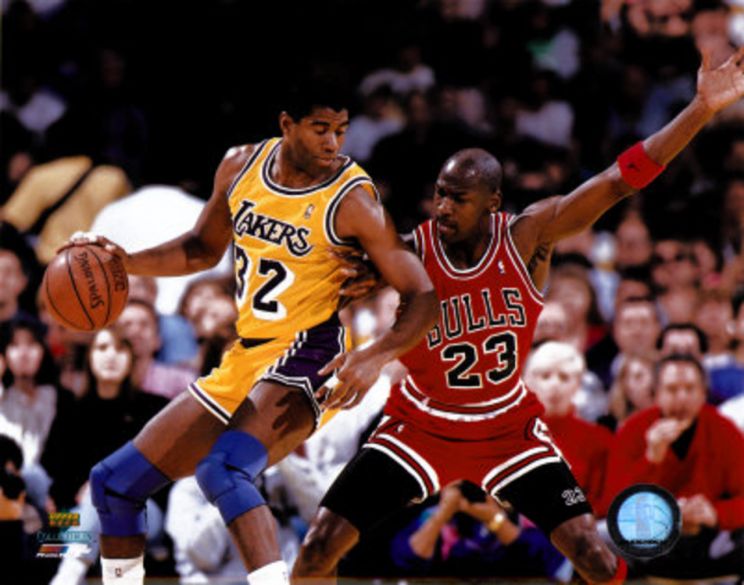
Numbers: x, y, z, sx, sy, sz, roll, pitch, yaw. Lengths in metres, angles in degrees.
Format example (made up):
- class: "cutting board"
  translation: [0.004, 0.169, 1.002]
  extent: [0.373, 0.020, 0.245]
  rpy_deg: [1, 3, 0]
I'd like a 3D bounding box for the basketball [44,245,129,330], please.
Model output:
- class: "basketball"
  translation: [-1.247, -0.025, 5.024]
  extent: [0.368, 0.453, 0.373]
  rpy_deg: [-1, -1, -2]
